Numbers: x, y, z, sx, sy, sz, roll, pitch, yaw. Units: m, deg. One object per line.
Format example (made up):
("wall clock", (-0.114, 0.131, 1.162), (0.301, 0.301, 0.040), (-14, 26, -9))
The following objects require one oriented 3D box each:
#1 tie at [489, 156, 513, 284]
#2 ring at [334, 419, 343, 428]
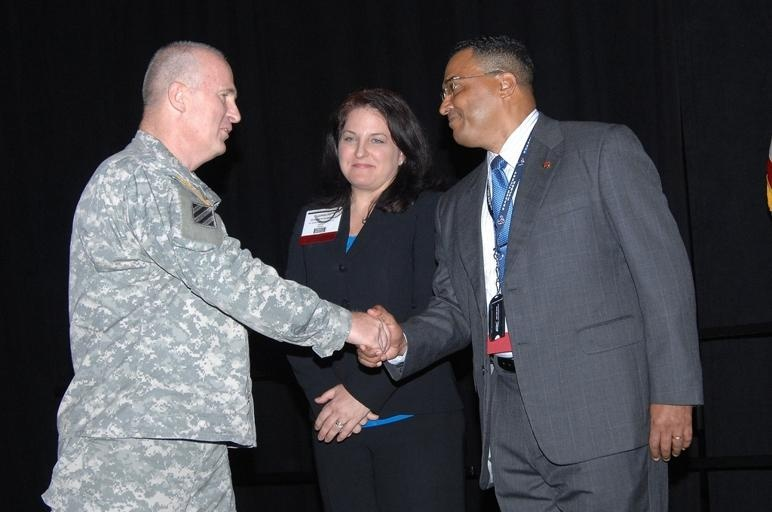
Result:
("tie", (0.529, -0.208, 3.292), (0.159, 0.504, 0.025), (-22, -30, 38))
("ring", (-0.222, 0.780, 3.302), (0.043, 0.043, 0.007), (5, 17, 18))
